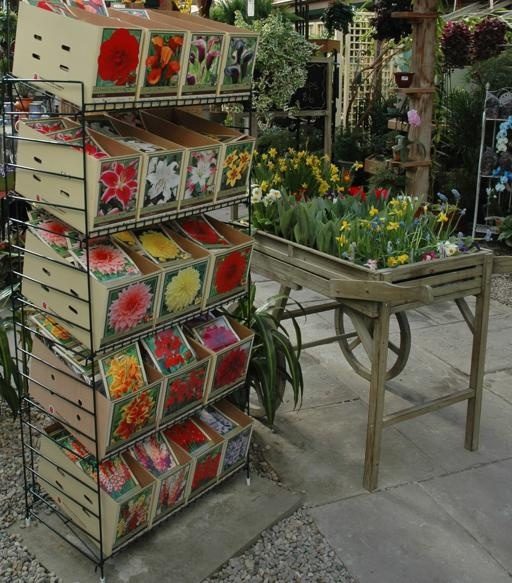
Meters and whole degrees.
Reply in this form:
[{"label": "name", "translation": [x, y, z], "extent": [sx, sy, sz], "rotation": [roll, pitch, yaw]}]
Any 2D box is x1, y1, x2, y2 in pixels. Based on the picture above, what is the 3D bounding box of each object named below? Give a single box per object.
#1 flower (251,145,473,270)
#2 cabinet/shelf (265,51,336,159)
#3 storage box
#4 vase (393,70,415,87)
[{"label": "flower", "translation": [0.352, -0.409, 2.509], "extent": [0.834, 0.327, 1.111], "rotation": [-21, 35, -38]}, {"label": "cabinet/shelf", "translation": [0.315, -1.760, 4.811], "extent": [0.771, 0.895, 0.718], "rotation": [2, 22, 8]}, {"label": "storage box", "translation": [-0.401, -0.056, 1.694], "extent": [0.491, 1.765, 0.725], "rotation": [12, 17, 33]}, {"label": "vase", "translation": [1.268, -1.822, 4.372], "extent": [0.148, 0.088, 0.136], "rotation": [-1, 16, 2]}]
